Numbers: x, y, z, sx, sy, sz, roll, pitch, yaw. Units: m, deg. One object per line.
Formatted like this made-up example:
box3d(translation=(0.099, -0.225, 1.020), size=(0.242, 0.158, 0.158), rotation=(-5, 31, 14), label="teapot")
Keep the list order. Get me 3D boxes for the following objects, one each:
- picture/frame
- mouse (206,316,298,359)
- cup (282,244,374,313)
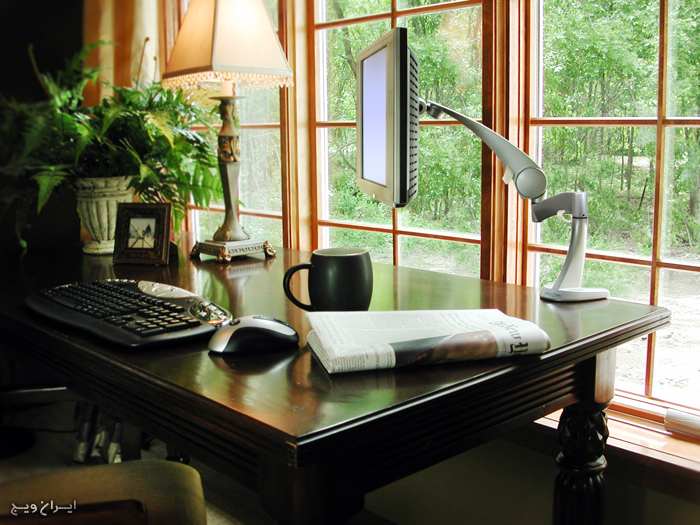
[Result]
box3d(translation=(-0.580, -0.083, 1.636), size=(0.157, 0.172, 0.023), rotation=(1, -13, 5), label="picture/frame")
box3d(translation=(-0.164, 0.128, 0.987), size=(0.118, 0.046, 0.071), rotation=(-3, 8, -26), label="mouse")
box3d(translation=(-0.047, 0.049, 1.161), size=(0.190, 0.134, 0.118), rotation=(-4, 7, -7), label="cup")
